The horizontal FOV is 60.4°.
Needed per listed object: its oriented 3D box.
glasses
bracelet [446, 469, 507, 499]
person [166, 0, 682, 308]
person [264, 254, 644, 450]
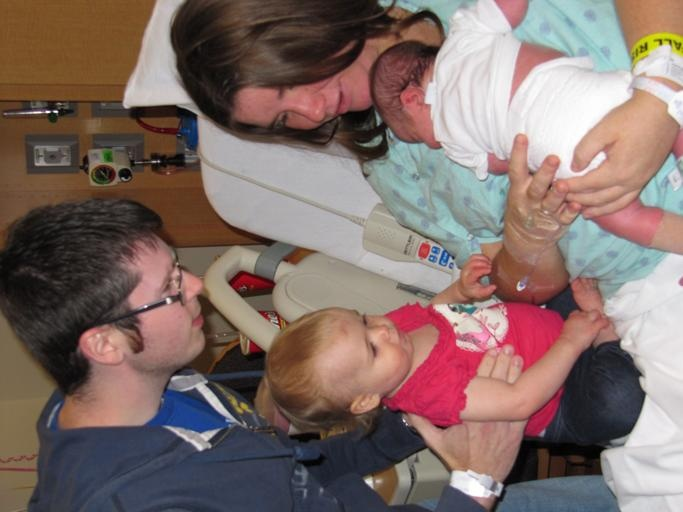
[{"bbox_3d":[-0.542,0.095,1.598,0.187,0.053,0.189,-26,42,12],"label":"glasses"},{"bbox_3d":[0.392,0.667,1.719,0.117,0.043,0.091,19,71,-1],"label":"bracelet"},{"bbox_3d":[0.261,-0.317,1.775,0.790,0.586,0.705,-8,16,-26],"label":"person"},{"bbox_3d":[0.332,0.320,1.874,1.063,0.506,0.630,-6,37,1],"label":"person"}]
